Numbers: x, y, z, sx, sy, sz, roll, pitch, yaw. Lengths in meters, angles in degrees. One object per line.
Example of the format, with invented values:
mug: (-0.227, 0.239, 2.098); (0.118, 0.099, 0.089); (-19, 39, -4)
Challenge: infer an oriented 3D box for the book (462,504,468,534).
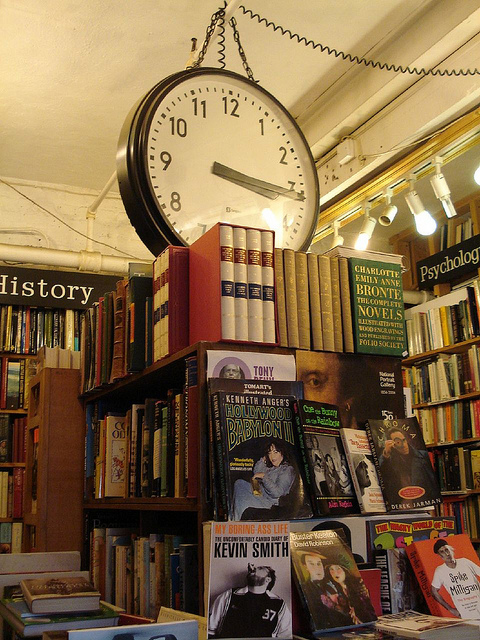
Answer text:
book: (1.472, 1.303, 3.953); (0.025, 0.171, 0.047); (-13, -13, 35)

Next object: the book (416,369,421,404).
book: (1.307, 0.489, 4.420); (0.034, 0.243, 0.070); (-10, -11, 22)

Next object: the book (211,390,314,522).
book: (0.027, 0.279, 1.244); (0.241, 0.244, 0.058); (4, -21, -37)

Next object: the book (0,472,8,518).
book: (-1.548, 1.149, 3.953); (0.050, 0.288, 0.019); (4, -14, -41)

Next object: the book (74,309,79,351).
book: (-1.191, 0.071, 4.392); (0.042, 0.294, 0.119); (-2, -11, -15)

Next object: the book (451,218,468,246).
book: (1.638, -0.674, 4.538); (0.126, 0.237, 0.188); (-9, -11, 22)

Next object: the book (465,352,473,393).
book: (1.522, 0.348, 4.017); (0.032, 0.259, 0.095); (-9, -11, 19)

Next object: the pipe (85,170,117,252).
pipe: (-1.023, -0.791, 4.395); (0.212, 0.563, 0.972); (-2, -10, -16)

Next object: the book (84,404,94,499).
book: (-0.559, 0.487, 2.235); (0.048, 0.344, 0.172); (-2, -11, -15)

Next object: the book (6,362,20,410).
book: (-1.544, 0.460, 4.117); (0.061, 0.251, 0.185); (3, -2, -13)

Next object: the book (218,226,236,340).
book: (-0.026, -0.085, 1.362); (0.052, 0.263, 0.014); (4, -14, -41)

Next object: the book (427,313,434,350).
book: (1.387, 0.085, 4.418); (0.032, 0.273, 0.097); (-8, -11, 16)

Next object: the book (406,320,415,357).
book: (1.307, 0.136, 4.620); (0.059, 0.294, 0.148); (-8, -11, 16)

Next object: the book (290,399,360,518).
book: (0.180, 0.311, 1.308); (0.031, 0.293, 0.218); (-27, -28, 37)

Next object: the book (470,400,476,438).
book: (1.517, 0.650, 3.938); (0.028, 0.232, 0.063); (-9, -11, 20)

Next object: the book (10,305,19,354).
book: (-1.566, 0.065, 4.187); (0.063, 0.337, 0.065); (-1, -11, -20)

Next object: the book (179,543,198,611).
book: (-0.114, 0.556, 1.301); (0.050, 0.138, 0.040); (-7, -11, 12)

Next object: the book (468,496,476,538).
book: (1.495, 1.270, 3.891); (0.035, 0.238, 0.116); (-9, -11, 19)

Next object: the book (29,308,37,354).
book: (-1.457, 0.073, 4.249); (0.056, 0.332, 0.074); (-2, -11, -18)

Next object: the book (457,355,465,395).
book: (1.491, 0.368, 4.079); (0.046, 0.265, 0.071); (-9, -11, 22)

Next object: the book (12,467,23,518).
book: (-1.458, 1.134, 3.955); (0.068, 0.321, 0.063); (-1, -11, -22)

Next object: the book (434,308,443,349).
book: (1.426, 0.058, 4.339); (0.048, 0.204, 0.207); (-5, 16, 18)

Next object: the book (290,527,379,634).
book: (0.167, 0.478, 1.118); (0.178, 0.164, 0.101); (2, -13, -36)

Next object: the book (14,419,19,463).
book: (-1.500, 0.813, 4.049); (0.033, 0.284, 0.023); (-1, -11, -20)

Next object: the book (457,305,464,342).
book: (1.518, 0.025, 4.165); (0.033, 0.253, 0.069); (-11, -12, 28)

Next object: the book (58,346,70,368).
book: (-0.723, 0.159, 2.478); (0.069, 0.089, 0.067); (4, -8, -17)

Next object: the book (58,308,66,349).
book: (-1.285, 0.059, 4.350); (0.052, 0.291, 0.087); (-5, -10, -3)

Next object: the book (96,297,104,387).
book: (-0.463, 0.072, 1.994); (0.023, 0.285, 0.061); (-1, -11, -20)

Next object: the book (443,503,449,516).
book: (1.387, 1.282, 4.067); (0.019, 0.081, 0.082); (-3, -10, 10)

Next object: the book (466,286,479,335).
book: (1.562, -0.061, 4.046); (0.046, 0.330, 0.042); (-10, -12, 24)

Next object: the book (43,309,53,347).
book: (-1.359, 0.070, 4.266); (0.093, 0.222, 0.238); (1, -7, -13)

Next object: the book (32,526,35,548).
book: (-0.831, 0.876, 2.425); (0.009, 0.082, 0.152); (-1, -11, -19)

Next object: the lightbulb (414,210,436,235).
lightbulb: (1.057, -0.560, 3.438); (0.100, 0.154, 0.204); (-9, -11, 18)

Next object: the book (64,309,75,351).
book: (-1.238, 0.064, 4.372); (0.063, 0.252, 0.189); (0, 5, -20)

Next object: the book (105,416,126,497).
book: (-0.406, 0.450, 1.967); (0.050, 0.206, 0.158); (5, -8, -24)

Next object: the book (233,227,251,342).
book: (0.009, -0.083, 1.379); (0.051, 0.267, 0.013); (4, -14, -41)

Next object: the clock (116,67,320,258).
clock: (-0.035, -0.396, 1.707); (0.635, 0.605, 0.113); (6, -11, -35)

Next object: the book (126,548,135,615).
book: (-0.325, 0.766, 1.787); (0.029, 0.169, 0.139); (-3, -10, -12)

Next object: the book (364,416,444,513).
book: (0.372, 0.349, 1.455); (0.211, 0.223, 0.046); (3, -22, -28)

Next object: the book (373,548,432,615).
book: (0.331, 0.546, 1.255); (0.028, 0.118, 0.119); (-16, -10, 26)

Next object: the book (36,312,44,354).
book: (-1.420, 0.085, 4.282); (0.041, 0.287, 0.079); (-5, -10, -3)

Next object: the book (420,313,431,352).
book: (1.371, 0.093, 4.460); (0.047, 0.200, 0.192); (3, 1, 14)
